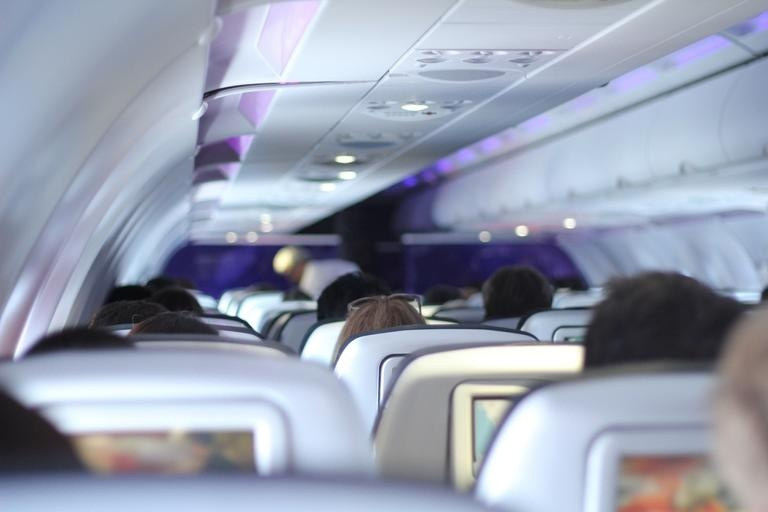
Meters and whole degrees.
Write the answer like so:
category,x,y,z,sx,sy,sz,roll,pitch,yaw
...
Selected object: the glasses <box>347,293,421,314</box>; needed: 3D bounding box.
category,x,y,z,sx,sy,sz,roll,pitch,yaw
glasses,0.042,0.209,2.932,0.186,0.049,0.176,-3,18,3
